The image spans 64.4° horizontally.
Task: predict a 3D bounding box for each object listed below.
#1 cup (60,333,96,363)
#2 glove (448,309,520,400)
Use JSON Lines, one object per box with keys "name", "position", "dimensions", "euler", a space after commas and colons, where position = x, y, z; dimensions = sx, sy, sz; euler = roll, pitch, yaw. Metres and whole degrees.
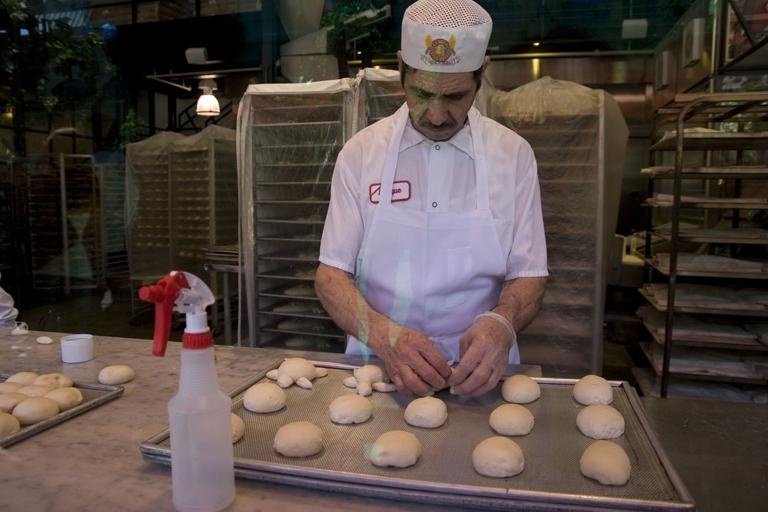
{"name": "cup", "position": [-1.329, 0.402, 2.654], "dimensions": [0.124, 0.090, 0.128], "euler": [2, -3, 0]}
{"name": "glove", "position": [0.389, 0.386, 2.431], "dimensions": [0.219, 0.329, 0.148], "euler": [31, -13, -9]}
